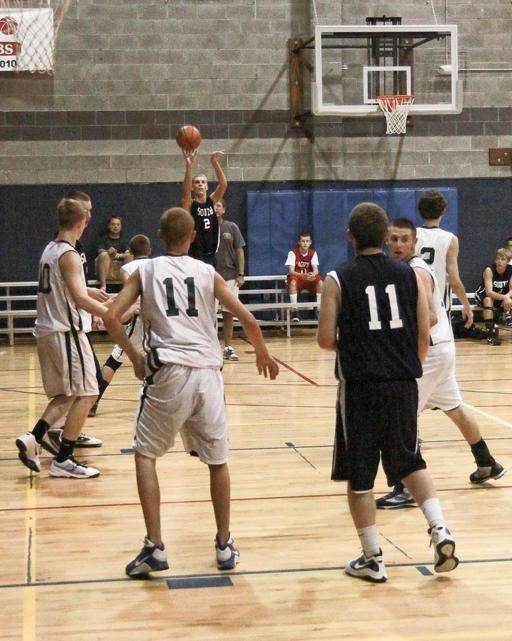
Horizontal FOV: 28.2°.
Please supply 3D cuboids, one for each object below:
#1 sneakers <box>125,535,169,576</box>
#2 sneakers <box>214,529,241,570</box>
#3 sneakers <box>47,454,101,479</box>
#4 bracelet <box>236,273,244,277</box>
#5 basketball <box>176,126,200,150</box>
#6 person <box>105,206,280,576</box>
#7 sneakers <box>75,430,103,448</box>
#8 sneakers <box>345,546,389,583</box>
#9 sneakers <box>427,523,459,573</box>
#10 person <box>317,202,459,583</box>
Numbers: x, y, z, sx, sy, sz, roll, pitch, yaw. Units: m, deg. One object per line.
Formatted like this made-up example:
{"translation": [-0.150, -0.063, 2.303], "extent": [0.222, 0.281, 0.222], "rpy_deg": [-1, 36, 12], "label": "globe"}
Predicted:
{"translation": [-0.506, 1.014, 4.290], "extent": [0.262, 0.190, 0.090], "rpy_deg": [-15, -19, 35], "label": "sneakers"}
{"translation": [-0.129, 1.008, 4.439], "extent": [0.062, 0.121, 0.172], "rpy_deg": [-2, 4, 2], "label": "sneakers"}
{"translation": [-1.030, 0.821, 5.746], "extent": [0.292, 0.146, 0.111], "rpy_deg": [1, -1, -3], "label": "sneakers"}
{"translation": [-0.162, -0.494, 10.725], "extent": [0.041, 0.040, 0.042], "rpy_deg": [-1, -8, 20], "label": "bracelet"}
{"translation": [-0.555, -1.473, 8.211], "extent": [0.173, 0.215, 0.390], "rpy_deg": [-1, 7, -1], "label": "basketball"}
{"translation": [-0.271, 0.296, 4.355], "extent": [0.708, 1.578, 0.385], "rpy_deg": [1, -2, -14], "label": "person"}
{"translation": [-1.053, 0.763, 6.419], "extent": [0.181, 0.083, 0.067], "rpy_deg": [1, 1, -1], "label": "sneakers"}
{"translation": [0.461, 1.030, 4.314], "extent": [0.082, 0.156, 0.221], "rpy_deg": [6, 0, -41], "label": "sneakers"}
{"translation": [0.748, 0.927, 4.131], "extent": [0.090, 0.230, 0.156], "rpy_deg": [-11, 42, -1], "label": "sneakers"}
{"translation": [0.529, 0.304, 4.186], "extent": [0.553, 1.568, 0.320], "rpy_deg": [-1, 6, 3], "label": "person"}
